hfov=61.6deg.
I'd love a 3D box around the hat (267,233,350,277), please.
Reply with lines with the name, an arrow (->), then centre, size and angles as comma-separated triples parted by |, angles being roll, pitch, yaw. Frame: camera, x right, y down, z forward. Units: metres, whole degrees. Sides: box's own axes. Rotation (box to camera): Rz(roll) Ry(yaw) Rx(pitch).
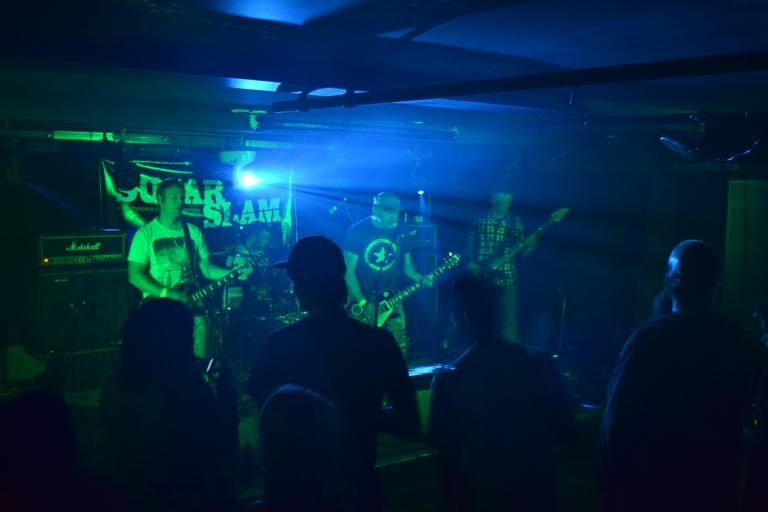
hat -> -0.460, -0.012, 3.711 | 0.485, 0.217, 0.333 | -6, 23, -19

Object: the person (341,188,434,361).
person -> -0.033, 0.411, 7.123 | 0.823, 2.158, 0.631 | 1, 35, -3

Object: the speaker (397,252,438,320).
speaker -> 0.410, 0.333, 7.977 | 0.147, 0.383, 1.048 | 45, -3, 36

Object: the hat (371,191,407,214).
hat -> 0.066, -0.575, 6.772 | 0.364, 0.151, 0.213 | 0, 8, -18

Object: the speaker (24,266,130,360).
speaker -> -3.682, 0.715, 7.542 | 0.763, 1.111, 1.338 | -15, 1, 10
